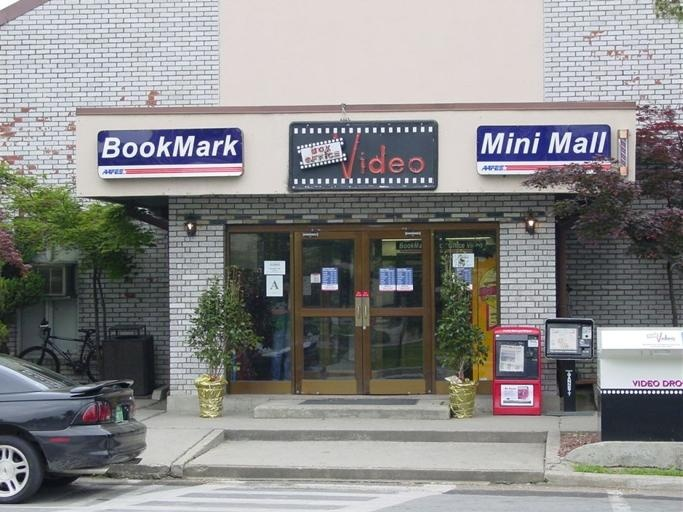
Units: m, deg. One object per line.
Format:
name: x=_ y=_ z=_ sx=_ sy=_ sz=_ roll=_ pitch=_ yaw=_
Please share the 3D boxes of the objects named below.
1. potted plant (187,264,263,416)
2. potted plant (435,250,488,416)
potted plant: x=-2.250 y=1.609 z=21.866 sx=1.236 sy=2.775 sz=0.883 roll=2 pitch=-5 yaw=-37
potted plant: x=2.165 y=1.440 z=21.586 sx=0.888 sy=3.043 sz=1.022 roll=-1 pitch=-4 yaw=4
